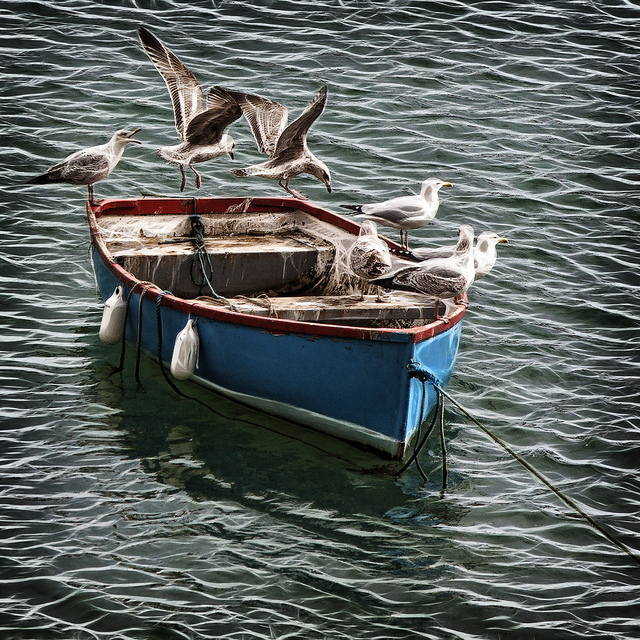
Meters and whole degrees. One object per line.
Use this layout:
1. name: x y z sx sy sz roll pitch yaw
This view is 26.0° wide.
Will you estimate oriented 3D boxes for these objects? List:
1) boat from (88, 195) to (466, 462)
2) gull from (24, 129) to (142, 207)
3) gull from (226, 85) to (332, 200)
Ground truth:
1. boat: -0.718 -0.083 15.660 3.017 1.123 4.691 -9 21 -33
2. gull: -2.687 -1.906 16.977 1.151 1.050 1.391 18 32 32
3. gull: -0.202 -2.077 17.022 1.416 1.324 1.189 -13 27 -25
